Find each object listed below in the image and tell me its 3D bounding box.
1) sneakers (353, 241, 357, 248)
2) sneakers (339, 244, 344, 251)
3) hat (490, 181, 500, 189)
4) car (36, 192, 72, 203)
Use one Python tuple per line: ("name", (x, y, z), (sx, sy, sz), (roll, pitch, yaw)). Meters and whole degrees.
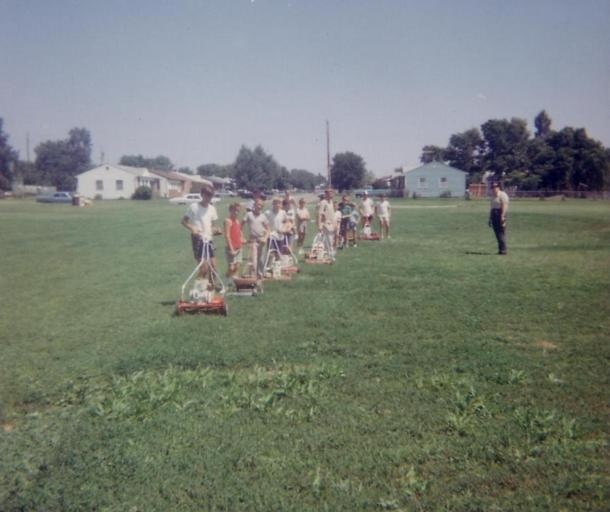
("sneakers", (1.988, -0.447, 19.959), (0.115, 0.157, 0.127), (-1, 5, 1))
("sneakers", (1.405, -0.343, 19.564), (0.213, 0.158, 0.301), (3, 5, 2))
("hat", (5.664, -2.049, 15.056), (0.238, 0.368, 0.257), (4, 17, 26))
("car", (-24.777, -5.781, 50.290), (2.905, 0.929, 2.720), (-5, 14, -16))
